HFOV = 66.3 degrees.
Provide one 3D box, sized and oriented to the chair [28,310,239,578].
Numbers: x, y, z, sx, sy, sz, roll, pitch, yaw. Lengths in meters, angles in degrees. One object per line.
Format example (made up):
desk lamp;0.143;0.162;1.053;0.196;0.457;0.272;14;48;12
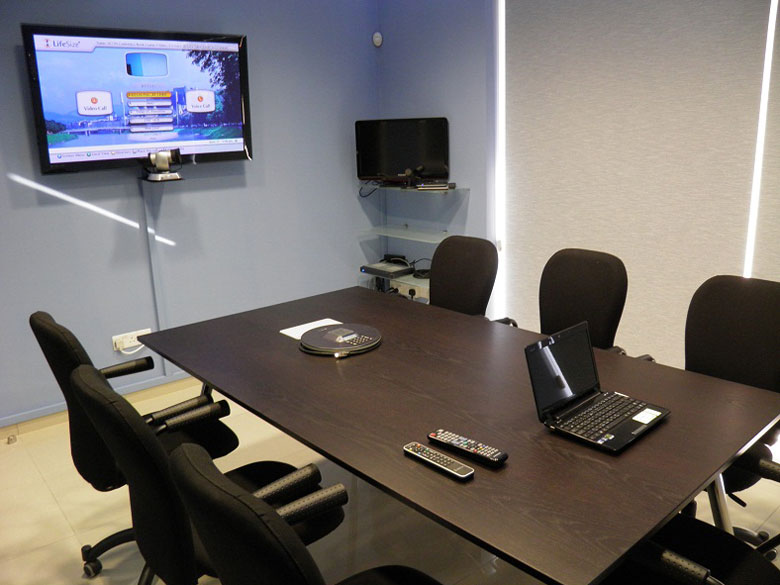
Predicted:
chair;-1.266;0.719;2.818;0.854;1.320;0.798;-12;24;-31

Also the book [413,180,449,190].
book;0.360;-0.899;5.015;0.288;0.074;0.212;-2;15;4

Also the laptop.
laptop;0.794;0.358;2.286;0.437;0.346;0.381;-16;20;-40

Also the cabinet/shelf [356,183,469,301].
cabinet/shelf;0.206;-0.447;5.020;0.304;0.870;0.932;-12;17;-42

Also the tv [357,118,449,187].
tv;0.142;-1.218;5.123;0.644;0.393;0.041;6;14;31

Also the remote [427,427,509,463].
remote;0.284;0.555;2.171;0.095;0.041;0.311;-15;20;-39

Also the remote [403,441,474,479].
remote;0.178;0.592;2.123;0.090;0.033;0.282;-19;25;-40
